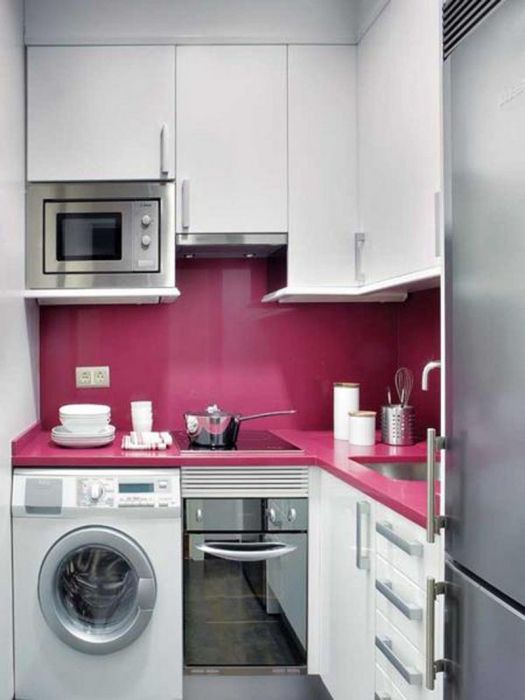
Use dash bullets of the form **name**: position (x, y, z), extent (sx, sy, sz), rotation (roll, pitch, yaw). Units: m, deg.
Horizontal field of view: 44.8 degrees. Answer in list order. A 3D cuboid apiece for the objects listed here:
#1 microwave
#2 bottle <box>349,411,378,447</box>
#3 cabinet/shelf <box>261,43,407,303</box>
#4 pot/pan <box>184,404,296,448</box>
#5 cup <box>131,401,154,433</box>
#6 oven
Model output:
- **microwave**: position (-0.575, -0.328, 2.315), extent (0.505, 0.421, 0.330), rotation (-2, -25, -13)
- **bottle**: position (0.342, 0.270, 2.192), extent (0.088, 0.115, 0.100), rotation (0, -6, 0)
- **cabinet/shelf**: position (0.290, -0.653, 2.645), extent (0.657, 1.195, 0.534), rotation (0, 1, -1)
- **pot/pan**: position (-0.089, 0.264, 2.192), extent (0.292, 0.135, 0.177), rotation (1, -2, -4)
- **cup**: position (-0.451, 0.254, 2.434), extent (0.091, 0.170, 0.098), rotation (-1, -5, 0)
- **oven**: position (-0.065, 0.678, 2.158), extent (0.408, 0.688, 0.448), rotation (-1, 20, -5)
